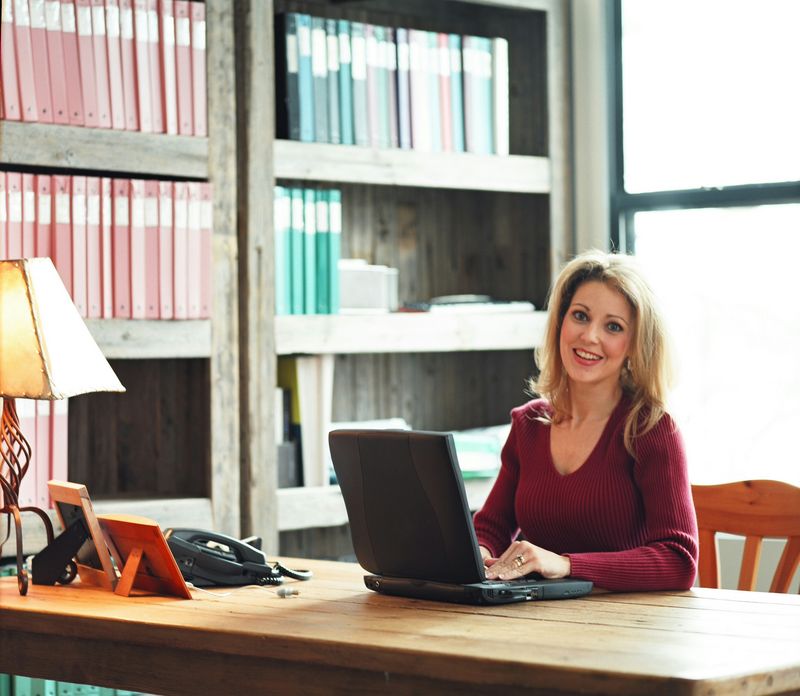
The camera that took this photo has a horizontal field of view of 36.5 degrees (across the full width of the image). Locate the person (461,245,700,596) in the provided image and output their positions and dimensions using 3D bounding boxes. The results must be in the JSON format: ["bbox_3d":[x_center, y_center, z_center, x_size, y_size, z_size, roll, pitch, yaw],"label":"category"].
[{"bbox_3d":[0.438,0.183,2.919,0.531,0.855,0.584,13,-13,-41],"label":"person"}]
